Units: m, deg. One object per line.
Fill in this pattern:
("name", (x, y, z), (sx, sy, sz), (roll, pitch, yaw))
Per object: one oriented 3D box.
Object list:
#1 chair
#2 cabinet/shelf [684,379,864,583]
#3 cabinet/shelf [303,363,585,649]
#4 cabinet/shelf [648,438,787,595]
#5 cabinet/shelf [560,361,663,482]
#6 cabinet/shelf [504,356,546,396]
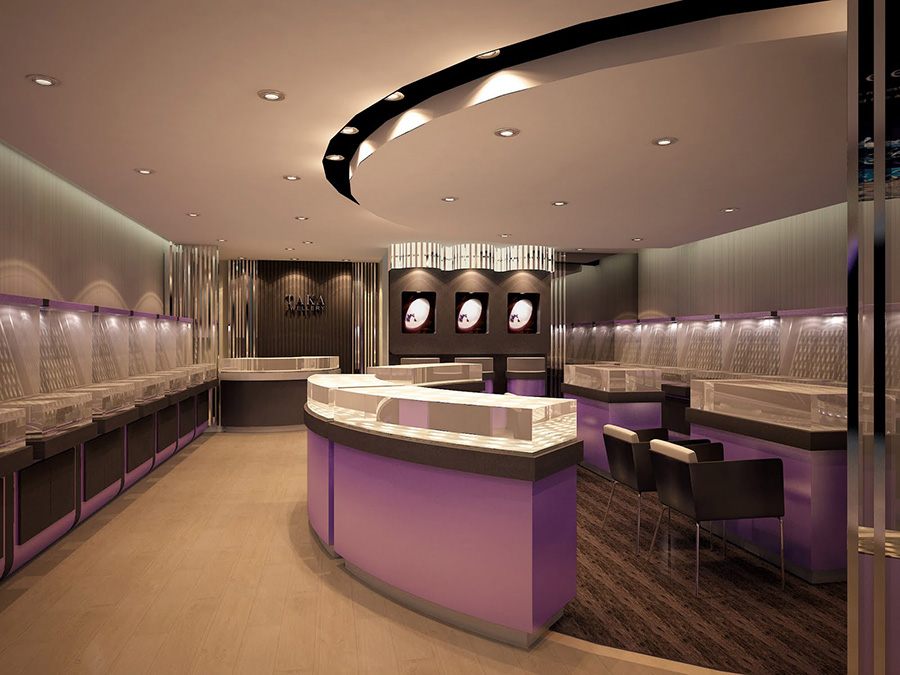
("chair", (1.666, 1.212, 5.067), (0.853, 1.071, 0.824), (0, 0, -16))
("cabinet/shelf", (2.939, 1.136, 4.893), (0.907, 1.382, 1.604), (3, -3, -6))
("cabinet/shelf", (-0.140, 1.080, 3.975), (1.922, 1.410, 0.594), (3, 5, 39))
("cabinet/shelf", (1.969, 1.320, 4.398), (1.046, 1.037, 1.088), (-6, -11, 25))
("cabinet/shelf", (2.121, 1.084, 7.567), (0.740, 1.449, 1.431), (-2, 2, -9))
("cabinet/shelf", (1.394, 0.692, 10.598), (0.649, 0.705, 0.685), (-1, -2, 12))
